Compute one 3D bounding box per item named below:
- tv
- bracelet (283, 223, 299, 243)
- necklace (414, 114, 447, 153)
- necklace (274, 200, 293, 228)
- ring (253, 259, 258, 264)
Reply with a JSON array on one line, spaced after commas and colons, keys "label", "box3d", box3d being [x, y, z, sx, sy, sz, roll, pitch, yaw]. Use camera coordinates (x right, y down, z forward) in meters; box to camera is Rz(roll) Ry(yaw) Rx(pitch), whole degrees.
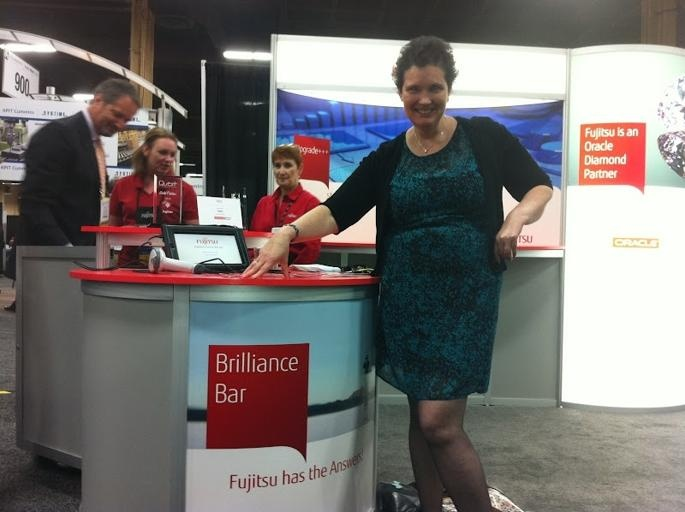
[{"label": "tv", "box3d": [-0.676, -0.043, 3.239, 0.420, 0.229, 0.264, -4, 11, -28]}, {"label": "bracelet", "box3d": [-0.240, -0.114, 3.124, 0.073, 0.085, 0.077, 5, 8, 43]}, {"label": "necklace", "box3d": [0.423, -0.560, 3.046, 0.061, 0.187, 0.126, 17, -17, -34]}, {"label": "necklace", "box3d": [-0.449, -0.316, 4.784, 0.050, 0.214, 0.192, 7, -8, -38]}, {"label": "ring", "box3d": [-0.412, 0.021, 3.042, 0.022, 0.014, 0.033, -1, -1, -2]}]
